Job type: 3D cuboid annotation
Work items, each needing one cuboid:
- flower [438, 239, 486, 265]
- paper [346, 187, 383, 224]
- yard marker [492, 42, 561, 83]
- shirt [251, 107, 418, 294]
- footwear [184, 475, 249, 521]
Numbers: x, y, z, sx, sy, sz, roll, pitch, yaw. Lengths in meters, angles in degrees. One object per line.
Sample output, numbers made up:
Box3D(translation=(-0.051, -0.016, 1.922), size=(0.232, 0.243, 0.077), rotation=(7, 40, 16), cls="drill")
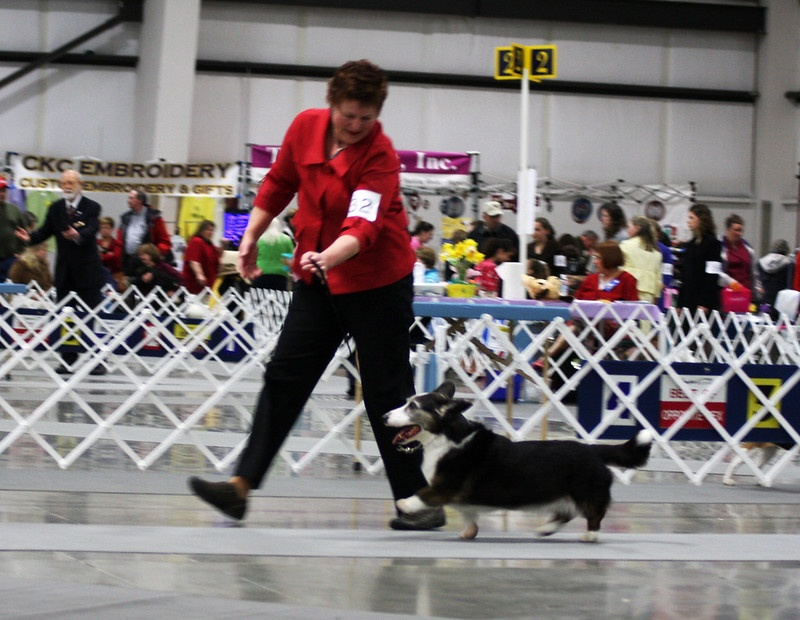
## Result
Box3D(translation=(0.552, -0.521, 12.850), size=(0.326, 0.244, 0.283), rotation=(0, 5, -7), cls="flower")
Box3D(translation=(-0.215, -0.628, 8.605), size=(0.189, 0.184, 0.071), rotation=(3, 3, -1), cls="paper")
Box3D(translation=(1.113, -2.210, 12.806), size=(0.437, 0.217, 0.418), rotation=(1, 0, -15), cls="yard marker")
Box3D(translation=(-0.341, -0.643, 8.841), size=(1.041, 1.035, 1.068), rotation=(-11, 29, -26), cls="shirt")
Box3D(translation=(-1.167, 1.153, 8.759), size=(0.167, 0.191, 0.449), rotation=(-16, -36, 41), cls="footwear")
